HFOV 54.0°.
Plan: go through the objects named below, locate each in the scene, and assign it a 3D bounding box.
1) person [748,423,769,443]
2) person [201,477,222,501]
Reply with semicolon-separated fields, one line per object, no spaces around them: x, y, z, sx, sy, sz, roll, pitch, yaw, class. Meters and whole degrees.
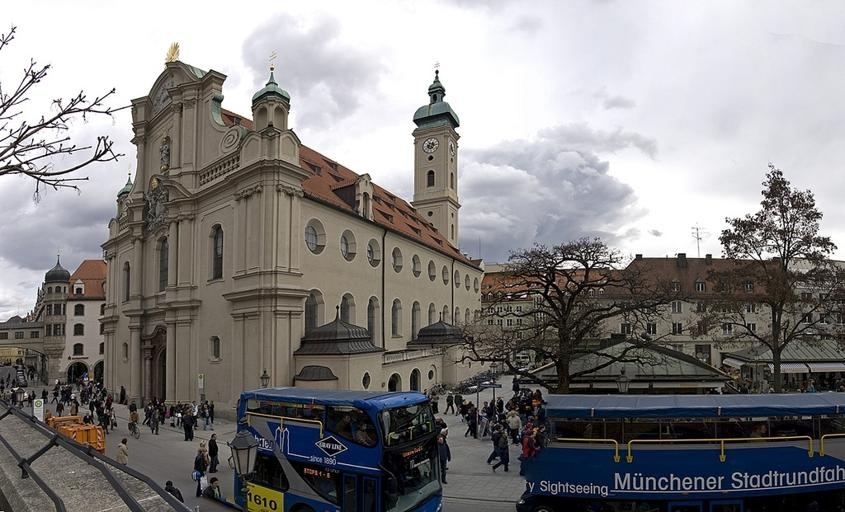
17.857;9.251;43.856;0.944;0.926;0.225;0;-15;-8;person
-12.553;13.747;49.173;0.795;1.105;1.354;1;-7;6;person
